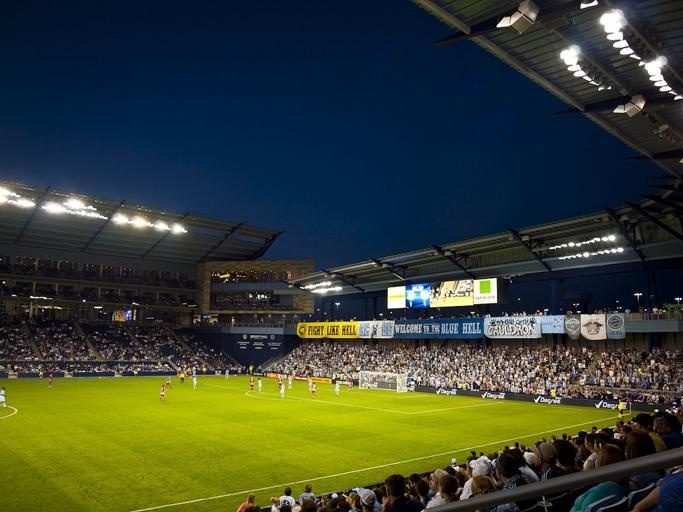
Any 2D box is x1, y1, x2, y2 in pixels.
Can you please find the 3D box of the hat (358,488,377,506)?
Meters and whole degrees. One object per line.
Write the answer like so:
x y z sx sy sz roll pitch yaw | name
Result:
0.620 5.813 13.936 0.350 0.370 0.584 -2 -12 4 | hat
